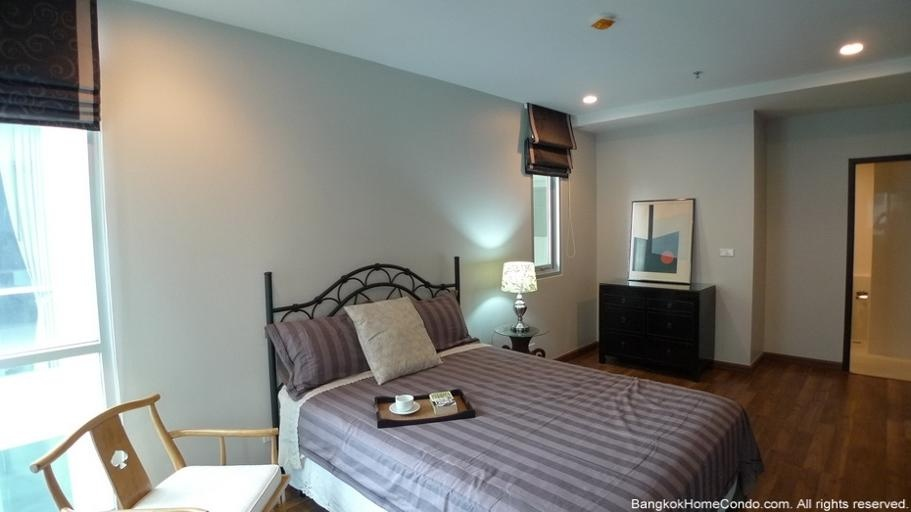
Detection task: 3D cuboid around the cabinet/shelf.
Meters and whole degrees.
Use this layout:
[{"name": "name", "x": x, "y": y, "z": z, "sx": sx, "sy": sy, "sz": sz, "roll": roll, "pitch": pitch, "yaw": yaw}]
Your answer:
[{"name": "cabinet/shelf", "x": 2.712, "y": 0.921, "z": 7.317, "sx": 0.748, "sy": 1.026, "sz": 1.385, "roll": -6, "pitch": 6, "yaw": -44}]

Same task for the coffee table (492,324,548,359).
[{"name": "coffee table", "x": 0.765, "y": 1.007, "z": 6.389, "sx": 0.643, "sy": 0.382, "sz": 0.625, "roll": 0, "pitch": -7, "yaw": 0}]

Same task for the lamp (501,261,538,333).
[{"name": "lamp", "x": 0.699, "y": 0.498, "z": 6.480, "sx": 0.500, "sy": 0.787, "sz": 0.476, "roll": -8, "pitch": -3, "yaw": 26}]

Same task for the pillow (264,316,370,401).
[{"name": "pillow", "x": -1.247, "y": 0.904, "z": 5.056, "sx": 0.884, "sy": 0.693, "sz": 0.250, "roll": -17, "pitch": -13, "yaw": -33}]
